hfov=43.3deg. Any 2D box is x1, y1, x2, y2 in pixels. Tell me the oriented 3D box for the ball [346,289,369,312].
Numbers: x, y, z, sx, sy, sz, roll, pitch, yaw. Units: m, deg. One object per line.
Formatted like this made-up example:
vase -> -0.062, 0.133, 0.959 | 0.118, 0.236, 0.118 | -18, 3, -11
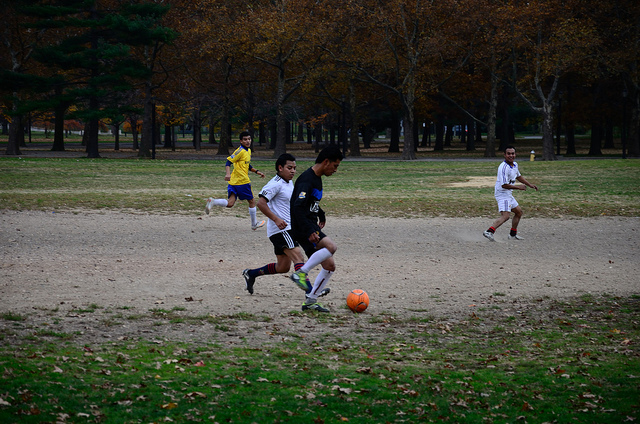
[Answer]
ball -> 0.793, 1.890, 17.090 | 0.523, 0.403, 0.465 | -3, -4, 10
